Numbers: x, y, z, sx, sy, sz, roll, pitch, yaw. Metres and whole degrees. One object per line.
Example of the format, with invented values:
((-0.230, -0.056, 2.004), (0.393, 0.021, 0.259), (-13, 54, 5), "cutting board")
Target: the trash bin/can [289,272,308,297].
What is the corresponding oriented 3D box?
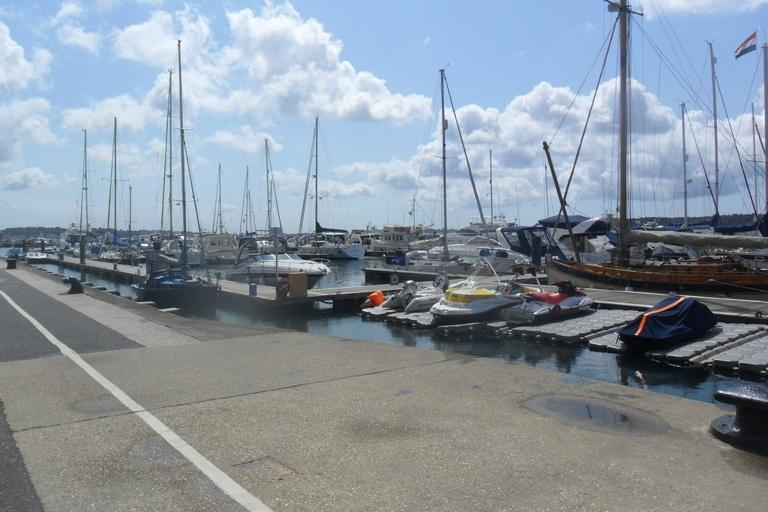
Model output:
((-3.605, 1.246, 24.933), (1.038, 1.289, 0.727), (1, 4, -5), "trash bin/can")
